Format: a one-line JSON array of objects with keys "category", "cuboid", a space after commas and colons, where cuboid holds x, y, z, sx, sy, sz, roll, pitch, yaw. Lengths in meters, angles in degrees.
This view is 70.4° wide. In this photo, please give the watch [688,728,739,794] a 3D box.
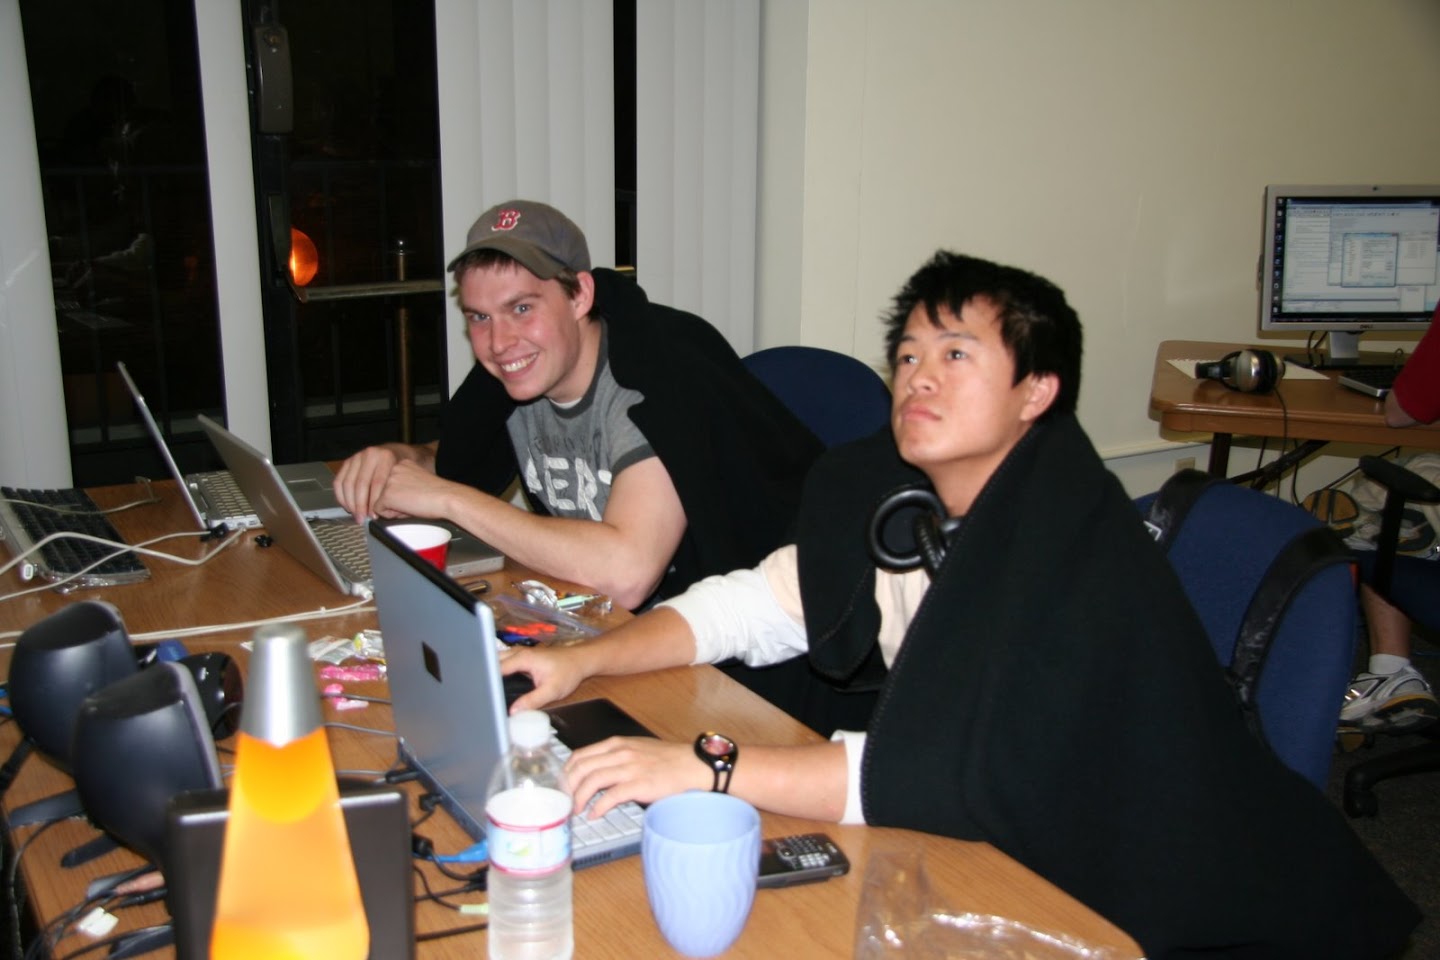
[{"category": "watch", "cuboid": [-0.004, 0.410, 1.492, 0.050, 0.073, 0.074, -2, 22, -16]}]

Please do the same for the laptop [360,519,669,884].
[{"category": "laptop", "cuboid": [-0.275, 0.242, 1.529, 0.389, 0.403, 0.540, -9, 21, -30]}]

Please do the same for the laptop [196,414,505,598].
[{"category": "laptop", "cuboid": [-0.819, -0.039, 2.199, 0.667, 0.193, 0.295, 4, 14, 23]}]

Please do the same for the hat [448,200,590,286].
[{"category": "hat", "cuboid": [-0.459, -0.551, 2.374, 0.279, 0.197, 0.377, 5, 0, 2]}]

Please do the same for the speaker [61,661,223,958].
[{"category": "speaker", "cuboid": [-0.739, 0.391, 1.370, 0.201, 0.272, 0.200, 3, 12, -6]}]

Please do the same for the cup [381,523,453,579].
[{"category": "cup", "cuboid": [-0.596, 0.118, 2.017, 0.140, 0.099, 0.146, 0, 4, 0]}]

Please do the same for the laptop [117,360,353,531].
[{"category": "laptop", "cuboid": [-1.133, 0.023, 2.438, 0.454, 0.330, 0.519, -7, 16, -26]}]

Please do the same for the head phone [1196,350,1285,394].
[{"category": "head phone", "cuboid": [1.715, -0.354, 3.354, 0.217, 0.115, 0.171, 0, 8, 20]}]

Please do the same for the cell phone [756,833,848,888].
[{"category": "cell phone", "cuboid": [0.107, 0.514, 1.388, 0.083, 0.025, 0.063, -5, 22, -17]}]

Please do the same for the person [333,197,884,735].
[{"category": "person", "cuboid": [-0.347, 0.207, 2.591, 1.197, 1.626, 0.968, -7, 10, -18]}]
